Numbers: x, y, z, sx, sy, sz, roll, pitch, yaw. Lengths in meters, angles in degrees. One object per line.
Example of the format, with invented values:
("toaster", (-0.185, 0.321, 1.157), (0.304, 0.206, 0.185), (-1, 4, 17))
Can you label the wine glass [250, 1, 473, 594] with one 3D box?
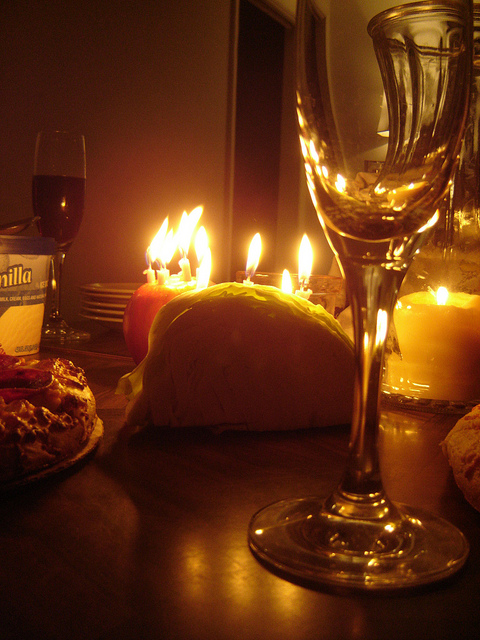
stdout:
("wine glass", (0.055, -0.023, 0.225), (0.100, 0.244, 0.099), (0, 1, 1))

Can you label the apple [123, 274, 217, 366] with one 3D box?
("apple", (-0.095, 0.004, 0.601), (0.088, 0.093, 0.054), (1, 1, 4))
